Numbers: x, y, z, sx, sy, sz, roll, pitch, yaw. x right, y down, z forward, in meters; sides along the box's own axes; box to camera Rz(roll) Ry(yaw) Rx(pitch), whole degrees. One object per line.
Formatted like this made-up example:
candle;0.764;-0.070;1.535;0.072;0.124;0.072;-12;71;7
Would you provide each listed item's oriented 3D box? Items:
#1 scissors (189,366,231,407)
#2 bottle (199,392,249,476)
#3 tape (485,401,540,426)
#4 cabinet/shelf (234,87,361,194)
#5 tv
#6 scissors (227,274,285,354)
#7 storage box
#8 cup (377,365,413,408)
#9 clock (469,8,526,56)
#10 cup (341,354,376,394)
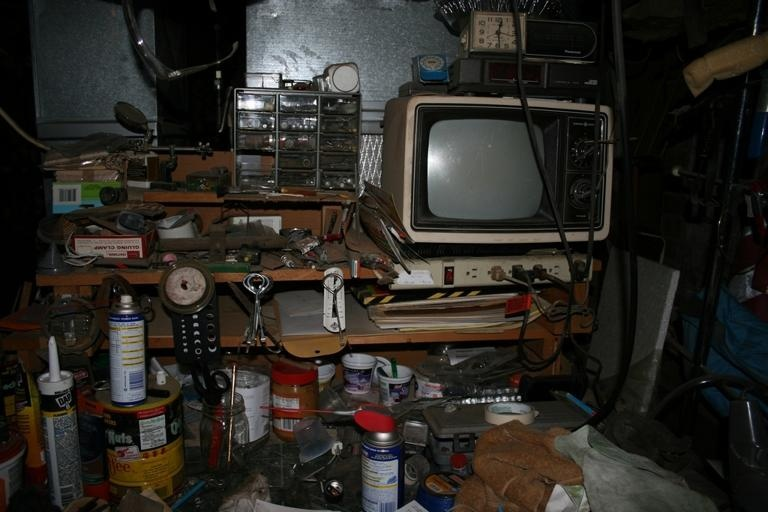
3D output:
scissors;-0.775;0.591;3.046;0.216;0.207;0.063;-6;12;39
bottle;-0.734;0.818;2.987;0.218;0.312;0.162;-4;12;-16
tape;0.583;0.728;2.983;0.151;0.034;0.117;0;6;-13
cabinet/shelf;-0.462;-0.649;3.546;0.622;0.486;0.232;0;7;-7
tv;0.564;-0.412;3.384;1.057;0.684;0.752;1;8;-6
scissors;-0.607;0.277;3.170;0.246;0.420;0.218;2;12;14
storage box;0.377;0.782;2.930;0.512;0.157;0.330;-2;12;-9
cup;0.054;0.677;3.352;0.188;0.150;0.192;2;6;0
clock;0.539;-1.075;3.118;0.339;0.229;0.179;0;8;-6
cup;-0.129;0.622;3.458;0.190;0.151;0.195;4;5;0
